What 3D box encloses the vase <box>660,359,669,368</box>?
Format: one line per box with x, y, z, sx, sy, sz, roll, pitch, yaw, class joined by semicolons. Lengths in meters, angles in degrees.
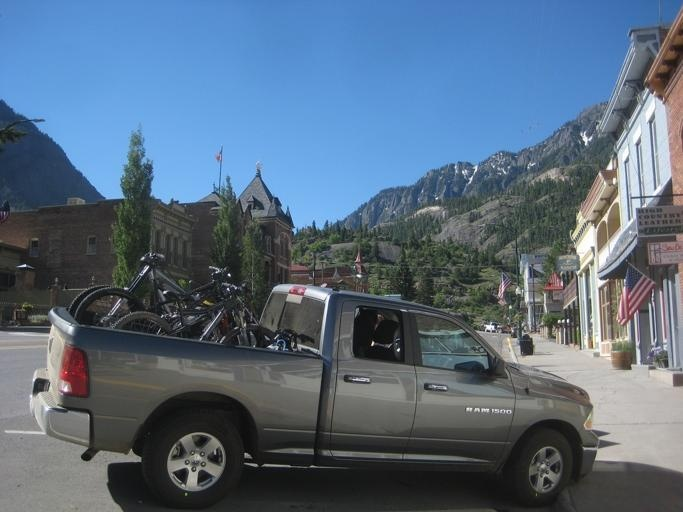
11.571;3.825;19.282;0.433;0.280;0.244;4;-4;39;vase

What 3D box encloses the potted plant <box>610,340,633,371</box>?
10.841;3.802;20.805;0.673;1.187;0.642;5;1;40;potted plant

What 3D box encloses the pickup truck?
-0.270;1.711;6.877;6.361;2.734;2.871;3;-5;-18;pickup truck

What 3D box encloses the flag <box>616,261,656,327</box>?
11.940;1.496;21.726;0.305;1.179;3.001;-21;-36;-6;flag
